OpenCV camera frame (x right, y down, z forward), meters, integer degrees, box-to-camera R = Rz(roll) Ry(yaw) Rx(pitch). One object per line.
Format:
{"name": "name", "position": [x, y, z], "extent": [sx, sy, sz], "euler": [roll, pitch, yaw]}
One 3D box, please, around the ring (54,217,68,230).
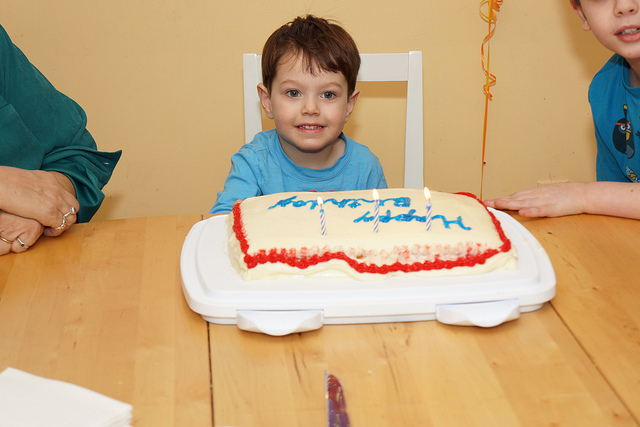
{"name": "ring", "position": [-0.847, 0.034, 1.742], "extent": [0.010, 0.037, 0.043], "euler": [21, 35, 39]}

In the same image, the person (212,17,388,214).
{"name": "person", "position": [-0.098, -0.464, 2.355], "extent": [0.858, 0.781, 0.467], "euler": [-4, 17, -9]}

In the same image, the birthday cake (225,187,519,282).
{"name": "birthday cake", "position": [0.138, 0.009, 1.642], "extent": [0.889, 0.176, 0.457], "euler": [-3, 27, -2]}

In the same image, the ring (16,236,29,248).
{"name": "ring", "position": [-0.934, 0.090, 1.676], "extent": [0.009, 0.030, 0.029], "euler": [-44, 68, -11]}
